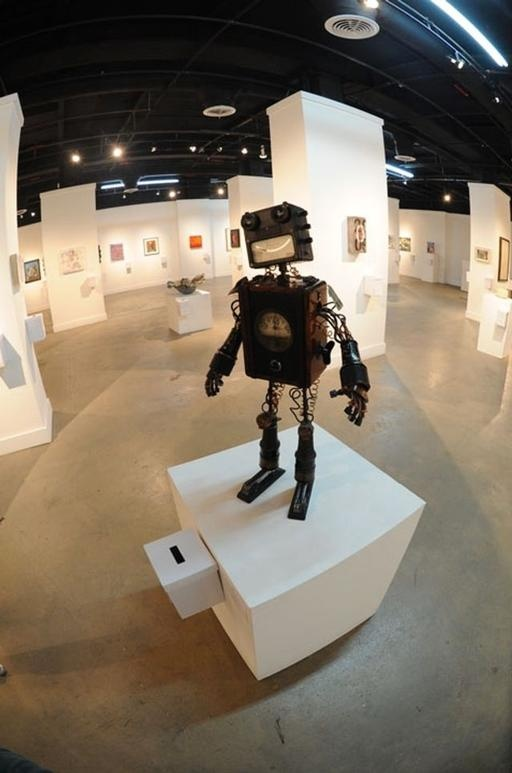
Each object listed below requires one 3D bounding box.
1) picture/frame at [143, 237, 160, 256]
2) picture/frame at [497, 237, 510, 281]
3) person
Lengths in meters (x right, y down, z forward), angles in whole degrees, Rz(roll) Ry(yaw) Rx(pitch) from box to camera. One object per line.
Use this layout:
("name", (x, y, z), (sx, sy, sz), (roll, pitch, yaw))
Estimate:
("picture/frame", (-3.546, -4.708, 16.678), (0.035, 0.527, 0.500), (21, 45, 40))
("picture/frame", (4.546, -2.358, 9.149), (0.053, 0.774, 0.670), (10, 22, 42))
("person", (0.170, -0.176, 2.880), (0.880, 1.619, 1.301), (-5, 13, 3))
